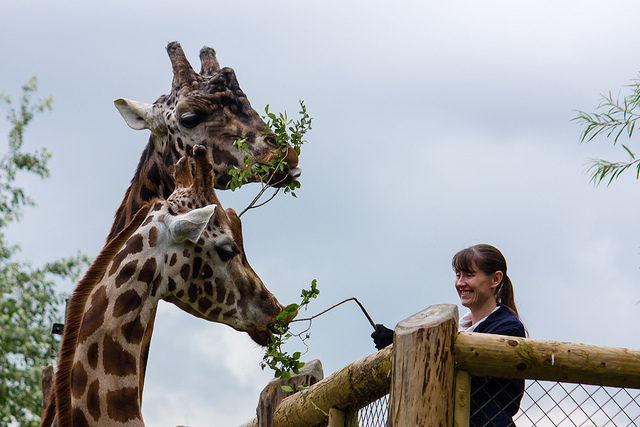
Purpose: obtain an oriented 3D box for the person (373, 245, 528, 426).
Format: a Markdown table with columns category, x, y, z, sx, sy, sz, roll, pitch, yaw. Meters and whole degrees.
| category | x | y | z | sx | sy | sz | roll | pitch | yaw |
| --- | --- | --- | --- | --- | --- | --- | --- | --- | --- |
| person | 1.210 | 1.328 | 10.732 | 1.074 | 1.866 | 0.817 | 4 | -42 | 3 |
